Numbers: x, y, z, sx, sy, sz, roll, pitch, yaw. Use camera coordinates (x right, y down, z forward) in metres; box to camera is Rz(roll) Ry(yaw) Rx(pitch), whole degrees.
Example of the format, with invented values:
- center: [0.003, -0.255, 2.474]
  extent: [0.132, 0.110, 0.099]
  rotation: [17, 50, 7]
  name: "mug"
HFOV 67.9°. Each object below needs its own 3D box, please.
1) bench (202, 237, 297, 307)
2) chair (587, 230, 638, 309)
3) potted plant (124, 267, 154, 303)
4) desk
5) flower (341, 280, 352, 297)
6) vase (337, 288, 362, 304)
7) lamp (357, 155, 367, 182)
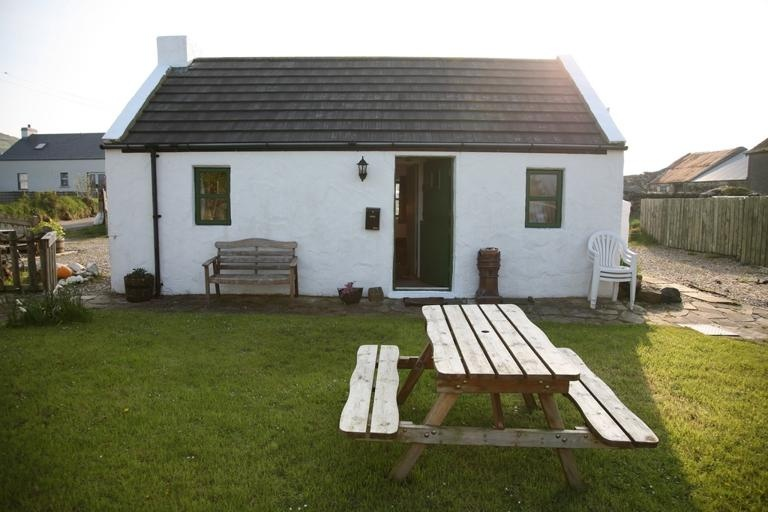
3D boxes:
- center: [-2.739, 0.287, 11.969]
  extent: [1.825, 1.223, 1.230]
  rotation: [-1, 11, -8]
  name: "bench"
- center: [4.745, 0.248, 11.913]
  extent: [1.014, 1.419, 1.501]
  rotation: [4, 12, 19]
  name: "chair"
- center: [-5.019, 0.624, 12.038]
  extent: [0.627, 0.638, 0.663]
  rotation: [0, -2, -2]
  name: "potted plant"
- center: [1.218, 1.696, 7.427]
  extent: [2.192, 1.757, 1.766]
  rotation: [0, 11, 0]
  name: "desk"
- center: [-0.779, 0.704, 11.826]
  extent: [0.184, 0.254, 0.069]
  rotation: [26, 18, 5]
  name: "flower"
- center: [-0.751, 0.794, 11.881]
  extent: [0.533, 0.324, 0.447]
  rotation: [3, 11, 14]
  name: "vase"
- center: [-0.463, -1.837, 12.148]
  extent: [0.227, 0.507, 0.193]
  rotation: [-1, 12, -5]
  name: "lamp"
